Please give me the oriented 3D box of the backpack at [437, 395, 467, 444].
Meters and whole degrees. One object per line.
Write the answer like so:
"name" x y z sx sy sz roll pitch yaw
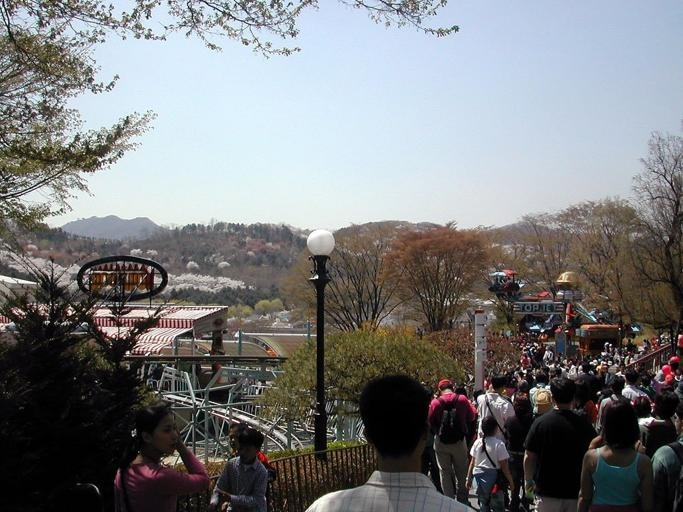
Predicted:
"backpack" 1.578 2.372 10.088 0.559 0.795 0.405 0 -17 2

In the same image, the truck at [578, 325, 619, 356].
"truck" 15.932 5.064 43.572 1.856 2.215 3.033 0 -1 16

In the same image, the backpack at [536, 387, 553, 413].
"backpack" 2.689 1.970 9.438 0.225 0.329 0.329 -2 -34 12
